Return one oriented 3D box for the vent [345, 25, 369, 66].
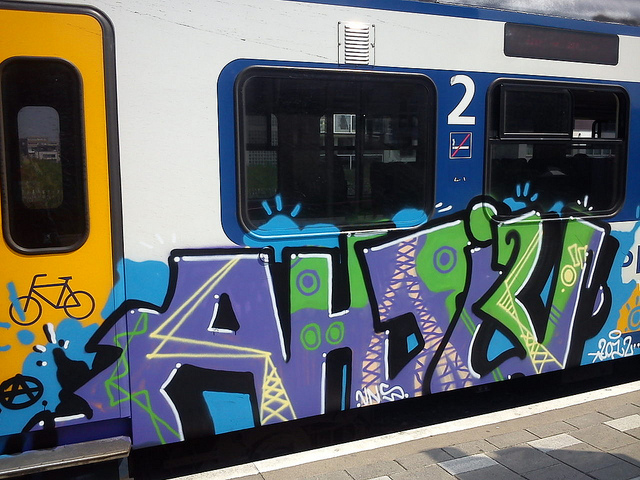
[{"bbox_3d":[0.267,-1.491,5.034,0.250,0.351,0.036,-2,14,-16],"label":"vent"}]
